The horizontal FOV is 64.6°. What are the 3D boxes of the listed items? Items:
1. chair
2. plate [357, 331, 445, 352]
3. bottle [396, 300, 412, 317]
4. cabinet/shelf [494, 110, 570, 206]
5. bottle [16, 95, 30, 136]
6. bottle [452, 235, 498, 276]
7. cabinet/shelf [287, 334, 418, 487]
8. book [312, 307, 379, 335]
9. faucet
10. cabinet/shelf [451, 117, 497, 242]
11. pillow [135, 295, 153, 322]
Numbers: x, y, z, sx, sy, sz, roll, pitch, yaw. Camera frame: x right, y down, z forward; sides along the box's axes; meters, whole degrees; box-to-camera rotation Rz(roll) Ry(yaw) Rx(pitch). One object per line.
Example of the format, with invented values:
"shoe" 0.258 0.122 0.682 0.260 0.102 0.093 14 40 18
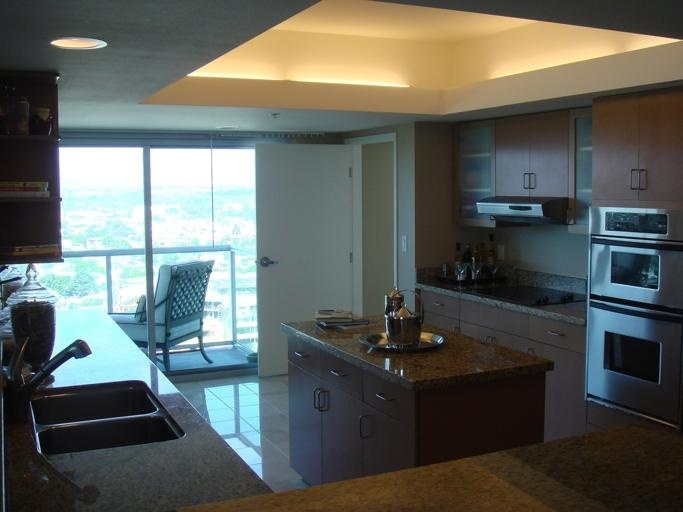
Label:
"chair" -2.112 0.706 6.314 1.198 1.264 1.216 0 2 -14
"plate" 0.361 0.500 3.234 0.504 0.051 0.397 -3 8 -7
"bottle" 0.362 0.311 3.122 0.078 0.045 0.076 0 3 0
"cabinet/shelf" 1.735 -0.842 4.754 0.296 0.722 0.773 -15 17 -34
"bottle" -1.662 -0.726 2.812 0.057 0.186 0.033 -9 10 -41
"bottle" 1.367 0.004 5.554 0.440 0.560 0.168 0 4 -14
"cabinet/shelf" 0.076 0.846 3.037 0.447 0.914 1.132 0 2 -20
"book" 0.025 0.430 3.718 0.410 0.085 0.349 -2 8 2
"faucet" -1.247 0.493 2.249 0.278 0.302 0.143 -6 9 -30
"cabinet/shelf" 1.442 -0.784 5.368 0.316 1.000 0.522 -13 16 -34
"pillow" -2.169 0.586 5.951 0.184 0.325 0.235 9 -18 -26
